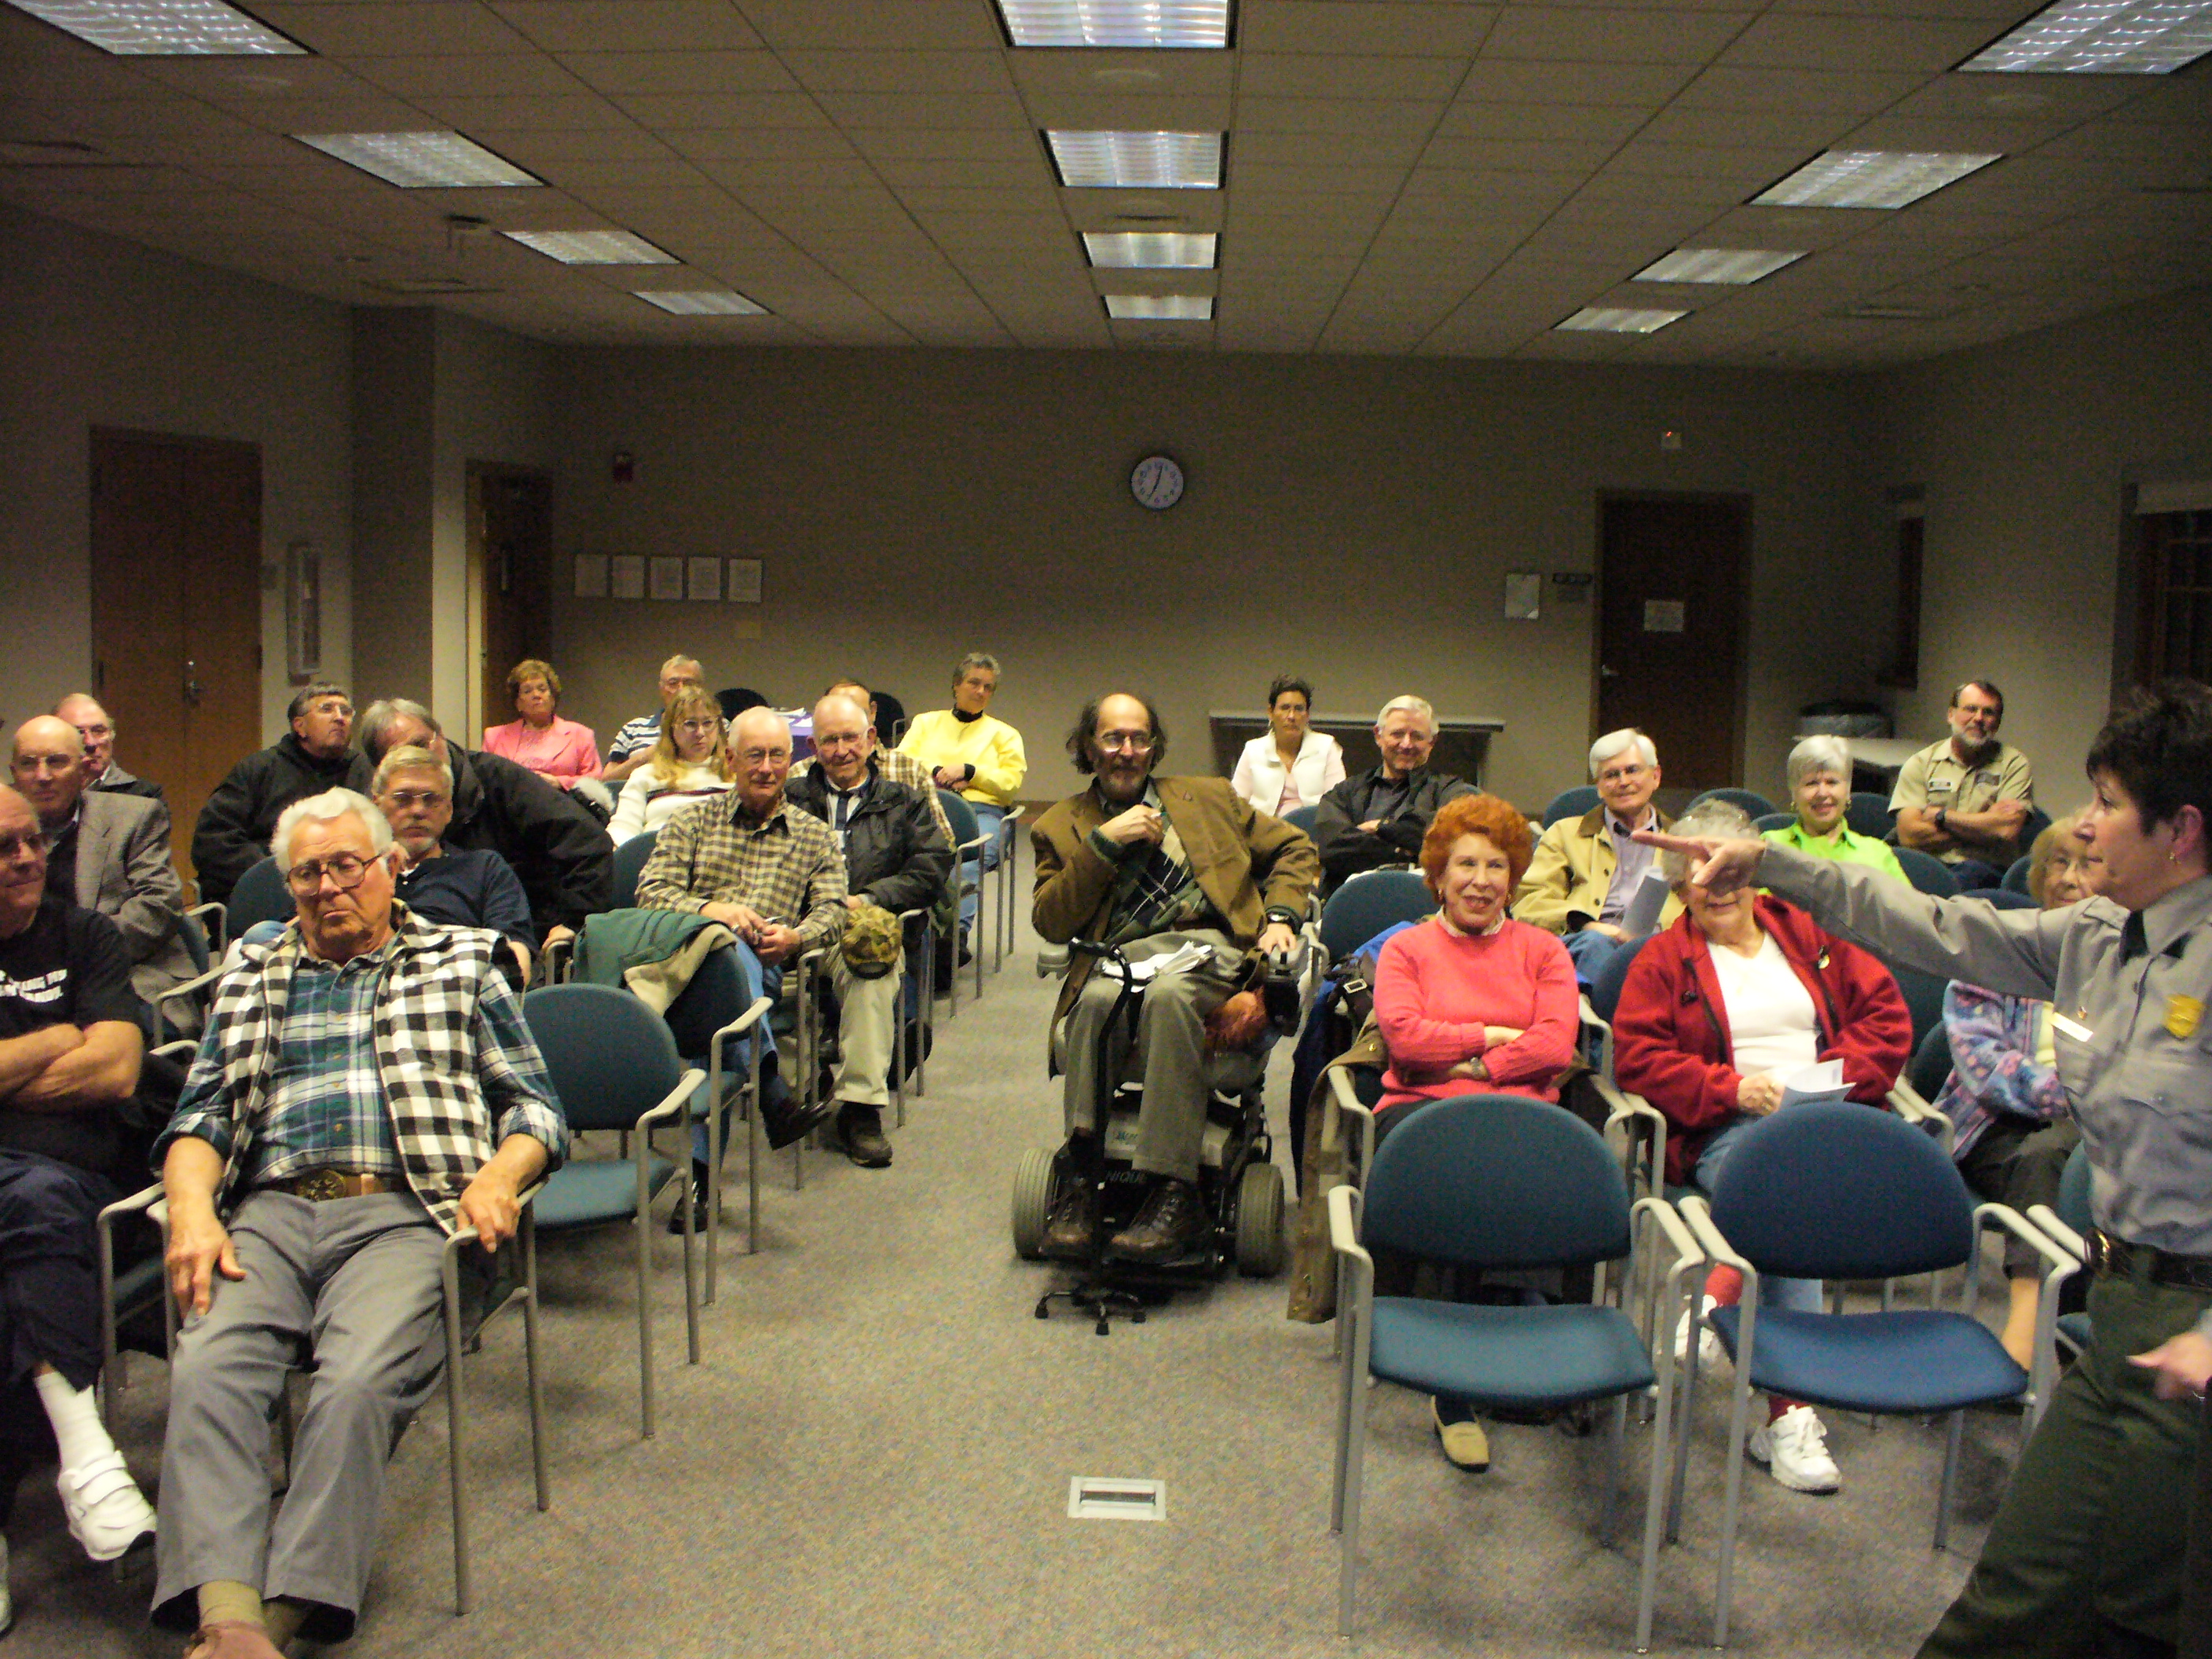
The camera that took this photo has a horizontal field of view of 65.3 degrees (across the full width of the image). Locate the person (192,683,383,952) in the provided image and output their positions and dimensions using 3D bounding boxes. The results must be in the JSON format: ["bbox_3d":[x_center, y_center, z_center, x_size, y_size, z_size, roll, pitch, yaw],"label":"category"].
[{"bbox_3d":[-2.832,0.024,6.073,0.677,1.061,0.547,8,-13,-39],"label":"person"}]

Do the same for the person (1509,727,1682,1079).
[{"bbox_3d":[1.645,0.268,5.631,0.526,1.259,0.730,2,-2,17],"label":"person"}]

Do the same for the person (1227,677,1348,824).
[{"bbox_3d":[0.884,-0.345,8.444,0.578,0.789,0.462,0,-6,2],"label":"person"}]

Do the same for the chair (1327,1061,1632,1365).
[{"bbox_3d":[0.811,0.853,3.609,0.610,0.671,0.581,-1,-3,3],"label":"chair"}]

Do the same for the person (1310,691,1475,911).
[{"bbox_3d":[1.094,-0.041,7.078,0.822,1.272,0.692,-1,-6,8],"label":"person"}]

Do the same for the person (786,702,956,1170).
[{"bbox_3d":[-0.875,0.299,5.891,0.572,1.466,0.859,-3,10,-17],"label":"person"}]

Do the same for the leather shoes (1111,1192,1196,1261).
[{"bbox_3d":[0.141,1.029,4.522,0.283,0.217,0.111,6,-8,-45],"label":"leather shoes"}]

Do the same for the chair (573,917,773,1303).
[{"bbox_3d":[-1.236,0.860,5.076,0.605,1.125,0.630,0,-3,-10],"label":"chair"}]

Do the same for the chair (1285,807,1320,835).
[{"bbox_3d":[0.852,-0.031,7.561,0.145,0.179,0.156,-3,-10,10],"label":"chair"}]

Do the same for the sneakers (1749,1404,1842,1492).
[{"bbox_3d":[1.528,1.373,3.835,0.094,0.116,0.235,0,-9,-5],"label":"sneakers"}]

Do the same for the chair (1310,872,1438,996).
[{"bbox_3d":[0.823,0.267,5.329,0.265,0.428,0.335,-1,-10,10],"label":"chair"}]

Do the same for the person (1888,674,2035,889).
[{"bbox_3d":[3.659,-0.164,7.394,0.539,0.938,0.842,6,11,21],"label":"person"}]

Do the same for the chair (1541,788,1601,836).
[{"bbox_3d":[1.842,-0.099,6.915,0.200,0.296,0.236,-3,-6,26],"label":"chair"}]

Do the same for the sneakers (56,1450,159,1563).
[{"bbox_3d":[-1.909,1.303,3.283,0.123,0.124,0.283,-1,4,-43],"label":"sneakers"}]

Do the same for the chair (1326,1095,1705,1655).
[{"bbox_3d":[0.831,1.064,3.661,0.820,1.289,0.881,0,-4,5],"label":"chair"}]

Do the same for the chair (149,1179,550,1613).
[{"bbox_3d":[-1.511,1.081,3.297,0.475,0.574,0.666,-2,11,-14],"label":"chair"}]

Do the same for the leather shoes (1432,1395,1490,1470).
[{"bbox_3d":[0.802,1.367,3.914,0.069,0.055,0.191,-6,4,-3],"label":"leather shoes"}]

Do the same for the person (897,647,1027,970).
[{"bbox_3d":[-0.798,-0.137,8.833,0.669,1.595,0.820,3,5,-1],"label":"person"}]

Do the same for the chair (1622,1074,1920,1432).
[{"bbox_3d":[1.452,0.918,3.867,0.591,0.884,0.538,0,-2,2],"label":"chair"}]

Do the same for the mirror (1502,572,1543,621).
[{"bbox_3d":[2.985,-1.708,12.483,0.300,0.406,0.040,0,2,-2],"label":"mirror"}]

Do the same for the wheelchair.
[{"bbox_3d":[0.114,0.723,4.846,0.706,1.245,1.198,0,-17,20],"label":"wheelchair"}]

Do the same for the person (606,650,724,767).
[{"bbox_3d":[-2.237,-0.511,8.963,0.517,0.802,0.710,4,6,-6],"label":"person"}]
